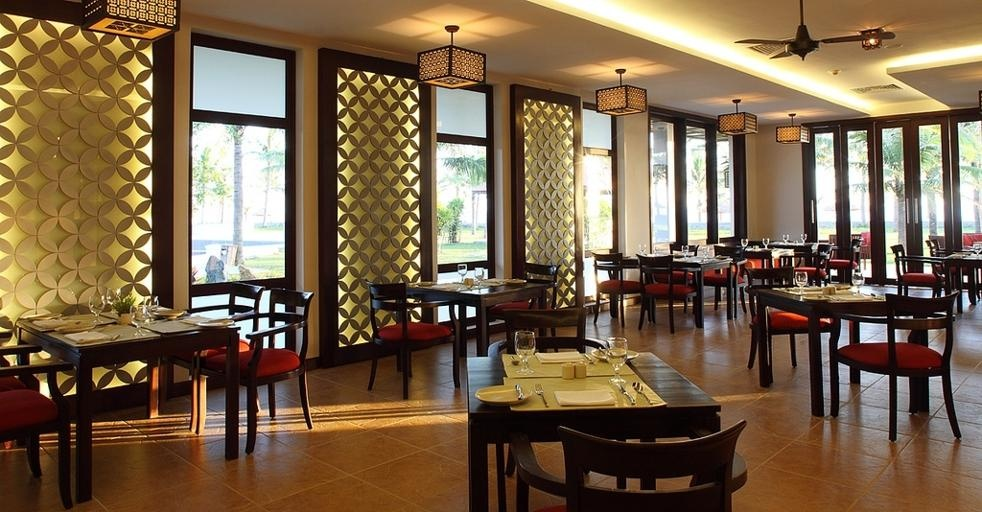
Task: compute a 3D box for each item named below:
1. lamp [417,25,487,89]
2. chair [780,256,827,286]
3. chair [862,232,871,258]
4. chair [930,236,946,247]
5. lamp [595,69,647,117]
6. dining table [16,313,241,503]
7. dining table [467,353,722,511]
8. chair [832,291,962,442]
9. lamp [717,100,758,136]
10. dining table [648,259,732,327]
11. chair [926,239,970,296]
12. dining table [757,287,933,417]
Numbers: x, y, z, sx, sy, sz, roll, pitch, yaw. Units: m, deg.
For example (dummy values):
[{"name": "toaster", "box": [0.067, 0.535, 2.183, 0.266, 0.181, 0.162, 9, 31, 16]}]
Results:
[{"name": "lamp", "box": [-0.568, -2.626, 8.829, 0.796, 0.467, 0.431, 0, 2, 30]}, {"name": "chair", "box": [5.734, 0.275, 11.558, 0.751, 0.683, 0.590, 0, 4, 2]}, {"name": "chair", "box": [9.009, -0.272, 15.249, 0.199, 0.645, 0.110, -1, 2, 18]}, {"name": "chair", "box": [9.717, -0.315, 13.767, 0.270, 0.271, 0.313, 3, 9, 39]}, {"name": "lamp", "box": [2.137, -2.574, 10.464, 0.710, 0.450, 0.379, 0, 2, 23]}, {"name": "dining table", "box": [-4.049, 1.563, 7.357, 2.163, 1.472, 2.341, 2, -2, -42]}, {"name": "dining table", "box": [0.832, 1.455, 6.008, 2.003, 0.967, 1.688, -2, 4, -10]}, {"name": "chair", "box": [4.736, 1.263, 7.454, 1.337, 1.644, 0.695, 0, 2, 25]}, {"name": "lamp", "box": [5.169, -2.879, 13.201, 0.630, 0.724, 0.881, 0, 2, 33]}, {"name": "dining table", "box": [3.696, 0.519, 11.797, 1.604, 0.992, 1.301, 3, 6, 42]}, {"name": "chair", "box": [9.018, 0.192, 12.459, 0.732, 1.011, 1.880, 0, 2, 35]}, {"name": "dining table", "box": [4.312, 1.207, 8.143, 1.863, 1.374, 1.702, -3, 5, -30]}]
